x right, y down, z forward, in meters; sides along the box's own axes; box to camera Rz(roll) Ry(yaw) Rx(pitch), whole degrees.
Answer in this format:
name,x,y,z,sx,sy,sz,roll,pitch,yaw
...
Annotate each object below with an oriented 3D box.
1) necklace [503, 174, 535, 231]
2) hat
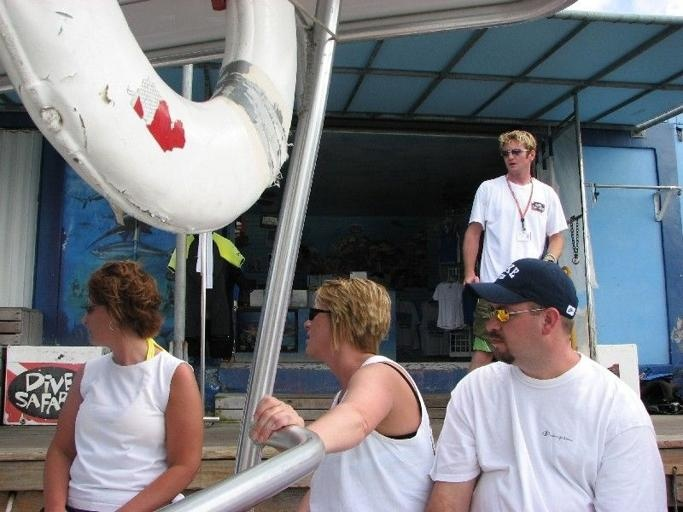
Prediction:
name,x,y,z,sx,sy,sz,roll,pitch,yaw
necklace,1.237,-0.344,5.223,0.165,0.355,0.059,1,-8,-3
hat,0.845,0.160,3.545,0.399,0.212,0.264,17,-7,10
